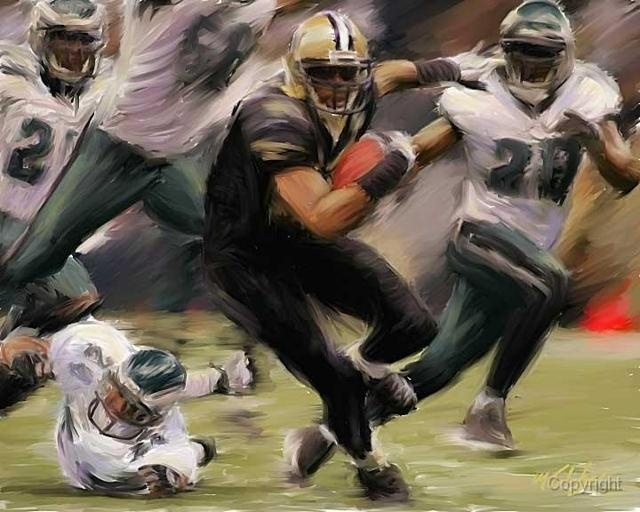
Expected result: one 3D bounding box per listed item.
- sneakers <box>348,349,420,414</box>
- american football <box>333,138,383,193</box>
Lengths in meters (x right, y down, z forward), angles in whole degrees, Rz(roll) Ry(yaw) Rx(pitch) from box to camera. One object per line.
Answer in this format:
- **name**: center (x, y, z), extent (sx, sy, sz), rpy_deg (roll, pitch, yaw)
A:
- **sneakers**: center (0.250, 0.551, 3.883), extent (0.403, 0.198, 0.166), rpy_deg (31, -8, -8)
- **american football**: center (0.172, -0.373, 3.702), extent (0.072, 0.270, 0.171), rpy_deg (37, 19, -46)
